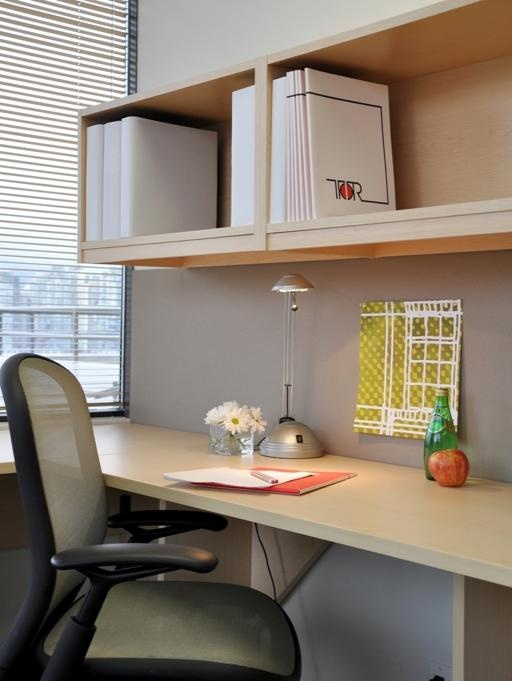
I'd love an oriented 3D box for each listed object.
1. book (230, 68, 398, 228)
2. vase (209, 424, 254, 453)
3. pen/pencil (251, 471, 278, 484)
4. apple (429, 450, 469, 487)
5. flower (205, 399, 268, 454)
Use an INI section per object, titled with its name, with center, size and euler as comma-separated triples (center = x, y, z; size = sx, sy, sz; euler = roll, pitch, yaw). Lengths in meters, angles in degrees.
[book]
center = 0.208, -0.346, 1.459
size = 0.338, 0.475, 0.483
euler = -1, 0, 42
[vase]
center = -0.075, 0.263, 1.564
size = 0.093, 0.070, 0.094
euler = 0, 1, -36
[pen/pencil]
center = 0.016, 0.291, 1.160
size = 0.018, 0.015, 0.077
euler = 20, -1, -25
[apple]
center = 0.406, 0.266, 1.138
size = 0.076, 0.077, 0.076
euler = -4, 1, 24
[flower]
center = -0.055, 0.244, 1.590
size = 0.153, 0.135, 0.153
euler = 1, 0, -27
